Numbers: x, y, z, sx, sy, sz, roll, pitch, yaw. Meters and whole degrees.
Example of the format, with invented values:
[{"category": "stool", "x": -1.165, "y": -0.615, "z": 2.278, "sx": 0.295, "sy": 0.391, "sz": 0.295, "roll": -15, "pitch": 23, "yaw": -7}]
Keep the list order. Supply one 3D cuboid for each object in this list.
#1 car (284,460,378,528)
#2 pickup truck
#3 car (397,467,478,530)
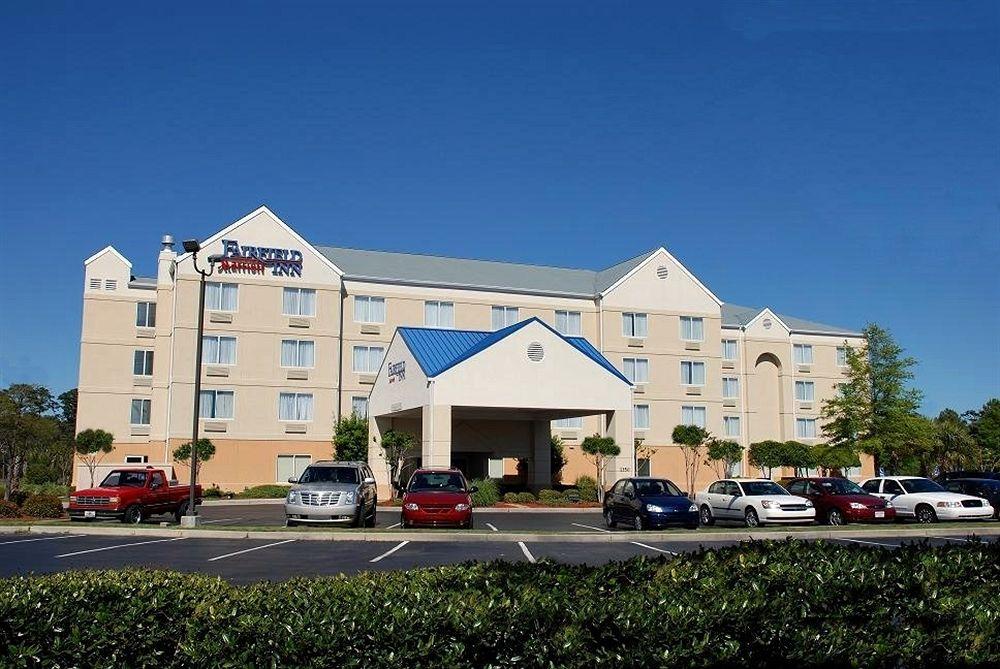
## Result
[{"category": "car", "x": -5.445, "y": 5.177, "z": 30.388, "sx": 2.209, "sy": 2.113, "sz": 2.901, "roll": 0, "pitch": -7, "yaw": 8}, {"category": "pickup truck", "x": -12.780, "y": 5.597, "z": 33.503, "sx": 2.353, "sy": 1.795, "sz": 4.233, "roll": -5, "pitch": -13, "yaw": 21}, {"category": "car", "x": -2.068, "y": 5.478, "z": 31.084, "sx": 2.116, "sy": 1.759, "sz": 4.804, "roll": -1, "pitch": -11, "yaw": -3}]
